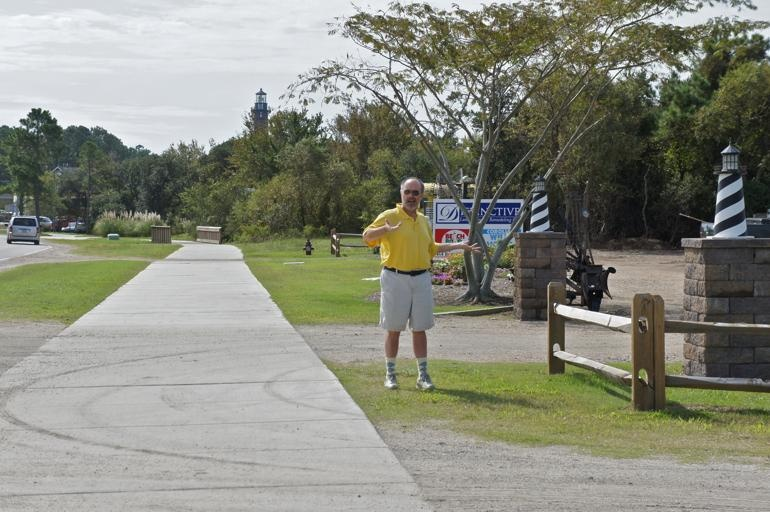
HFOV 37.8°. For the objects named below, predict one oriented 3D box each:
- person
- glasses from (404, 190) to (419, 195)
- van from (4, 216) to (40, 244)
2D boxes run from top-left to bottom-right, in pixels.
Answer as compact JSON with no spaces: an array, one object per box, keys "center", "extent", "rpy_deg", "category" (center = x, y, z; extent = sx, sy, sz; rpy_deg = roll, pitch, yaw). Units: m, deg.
[{"center":[0.308,0.482,19.322],"extent":[1.157,3.636,0.607],"rpy_deg":[2,3,0],"category":"person"},{"center":[0.455,-1.076,19.192],"extent":[0.258,0.091,0.054],"rpy_deg":[2,3,0],"category":"glasses"},{"center":[-19.390,-1.383,59.946],"extent":[1.590,1.401,1.951],"rpy_deg":[0,3,-20],"category":"van"}]
